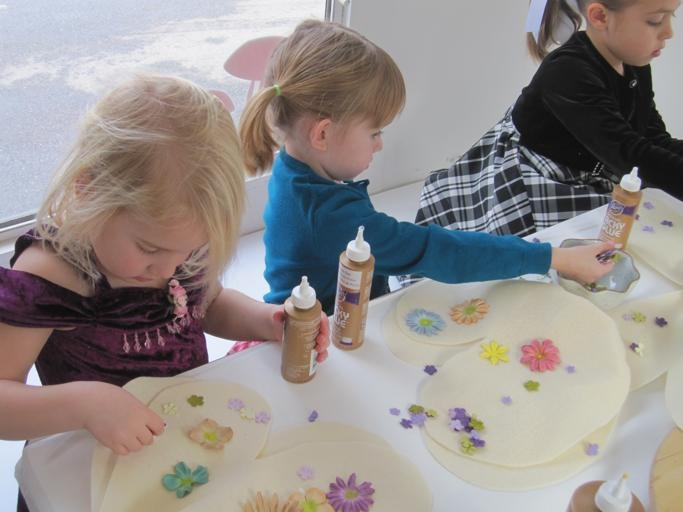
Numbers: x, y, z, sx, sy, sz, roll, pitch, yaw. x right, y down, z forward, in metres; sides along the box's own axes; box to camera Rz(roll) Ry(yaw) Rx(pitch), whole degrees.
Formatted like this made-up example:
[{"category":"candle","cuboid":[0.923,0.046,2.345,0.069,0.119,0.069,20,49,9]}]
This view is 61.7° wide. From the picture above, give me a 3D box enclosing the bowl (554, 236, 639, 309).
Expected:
[{"category":"bowl","cuboid":[0.580,0.041,1.253,0.133,0.060,0.145,-3,44,3]}]
